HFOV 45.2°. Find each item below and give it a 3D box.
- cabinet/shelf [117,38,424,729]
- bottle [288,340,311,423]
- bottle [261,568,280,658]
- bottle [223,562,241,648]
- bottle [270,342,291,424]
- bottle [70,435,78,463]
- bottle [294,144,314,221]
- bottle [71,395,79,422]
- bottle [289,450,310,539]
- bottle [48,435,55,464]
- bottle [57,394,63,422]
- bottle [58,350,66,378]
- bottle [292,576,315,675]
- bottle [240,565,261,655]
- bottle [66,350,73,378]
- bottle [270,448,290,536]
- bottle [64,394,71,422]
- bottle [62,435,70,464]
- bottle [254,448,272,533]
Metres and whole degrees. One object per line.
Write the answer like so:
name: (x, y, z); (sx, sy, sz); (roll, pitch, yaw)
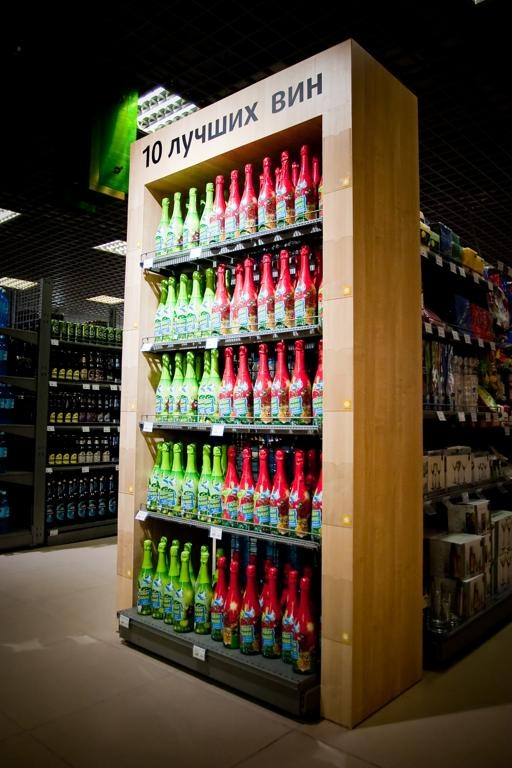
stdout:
cabinet/shelf: (0.014, -0.265, 2.917); (1.198, 2.155, 0.609); (-5, -12, 31)
bottle: (0.193, -0.012, 2.718); (0.100, 0.359, 0.230); (0, -2, 3)
bottle: (0.063, 0.980, 2.680); (0.084, 0.373, 0.135); (0, -2, 0)
bottle: (-0.108, 0.985, 2.769); (0.077, 0.367, 0.140); (1, -2, -2)
bottle: (0.108, -0.012, 2.770); (0.085, 0.364, 0.162); (0, -2, 1)
bottle: (-1.739, 0.634, 5.876); (0.062, 0.241, 0.171); (1, -2, -15)
bottle: (0.216, -0.887, 2.773); (0.091, 0.355, 0.202); (0, -2, 4)
bottle: (-1.740, 0.260, 5.910); (0.044, 0.244, 0.113); (1, -2, -2)
bottle: (0.183, 0.464, 2.660); (0.090, 0.357, 0.216); (0, -2, 4)
bottle: (-1.884, 0.606, 5.665); (0.072, 0.261, 0.242); (1, -2, -18)
bottle: (-1.839, 0.254, 5.774); (0.066, 0.225, 0.125); (1, -2, -17)
bottle: (-1.834, -0.182, 5.812); (0.063, 0.270, 0.114); (1, -2, -20)
bottle: (0.194, 0.963, 2.489); (0.087, 0.363, 0.121); (0, -2, 5)
bottle: (-0.027, 0.982, 2.692); (0.089, 0.375, 0.103); (1, -2, -11)
bottle: (-1.784, -0.184, 5.879); (0.064, 0.271, 0.087); (1, -2, -20)
bottle: (0.101, 0.469, 2.743); (0.080, 0.350, 0.188); (0, -2, 2)
bottle: (-1.788, 0.250, 5.849); (0.062, 0.242, 0.096); (1, -2, -17)
bottle: (-1.787, 0.623, 5.798); (0.063, 0.245, 0.139); (1, -2, -18)
bottle: (0.031, 0.464, 2.802); (0.079, 0.340, 0.184); (0, -2, 2)
